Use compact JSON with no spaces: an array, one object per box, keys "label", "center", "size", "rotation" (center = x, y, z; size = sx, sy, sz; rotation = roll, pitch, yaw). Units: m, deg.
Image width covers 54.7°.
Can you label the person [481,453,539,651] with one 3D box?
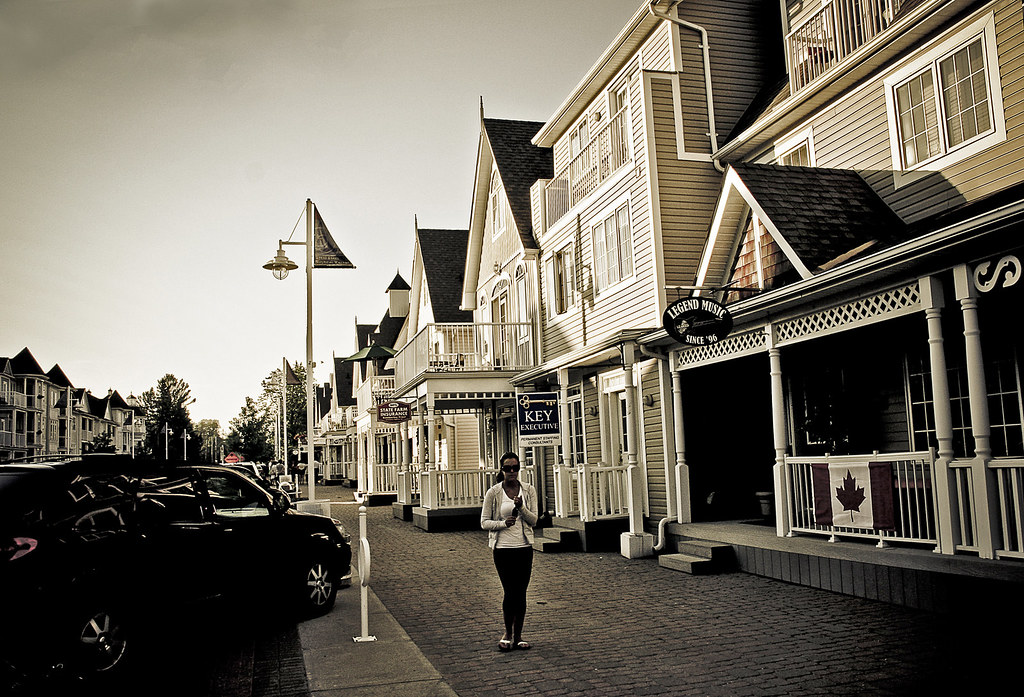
[{"label":"person","center":[-0.046,2.852,14.013],"size":[0.749,2.255,0.629],"rotation":[-2,-1,0]}]
